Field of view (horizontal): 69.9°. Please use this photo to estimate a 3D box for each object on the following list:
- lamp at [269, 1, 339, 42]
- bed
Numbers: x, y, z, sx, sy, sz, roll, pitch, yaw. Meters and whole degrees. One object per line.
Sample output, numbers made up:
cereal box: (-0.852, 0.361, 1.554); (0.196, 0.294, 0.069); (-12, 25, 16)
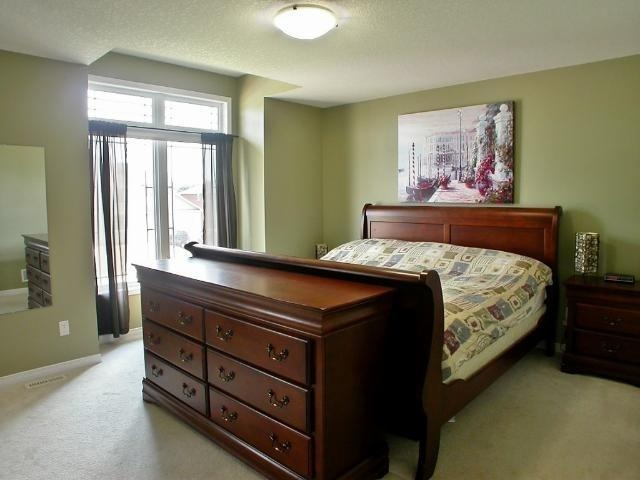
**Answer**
lamp: (-0.101, -1.526, 3.213); (0.469, 0.164, 0.271); (-2, 8, -2)
bed: (0.826, 0.382, 3.786); (2.092, 1.500, 2.362); (3, 3, 44)
